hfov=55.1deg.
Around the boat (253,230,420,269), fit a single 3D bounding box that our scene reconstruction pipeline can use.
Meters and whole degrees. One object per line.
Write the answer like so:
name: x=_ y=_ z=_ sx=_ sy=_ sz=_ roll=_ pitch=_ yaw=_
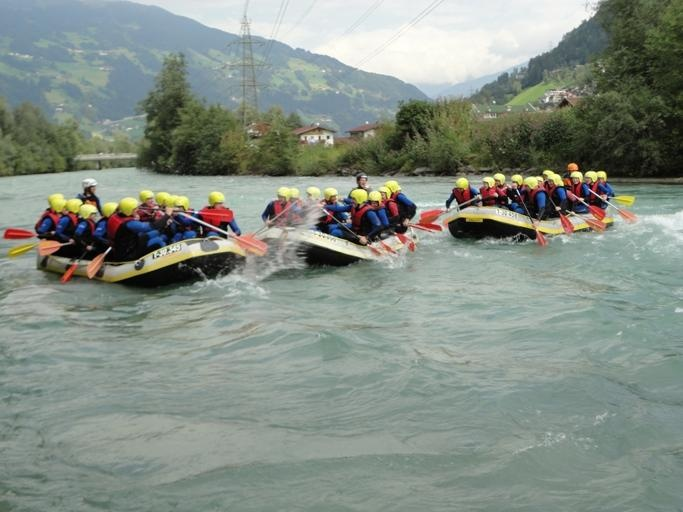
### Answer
boat: x=0.070 y=-0.165 z=15.142 sx=2.745 sy=0.361 sz=1.248 roll=4 pitch=4 yaw=-33
